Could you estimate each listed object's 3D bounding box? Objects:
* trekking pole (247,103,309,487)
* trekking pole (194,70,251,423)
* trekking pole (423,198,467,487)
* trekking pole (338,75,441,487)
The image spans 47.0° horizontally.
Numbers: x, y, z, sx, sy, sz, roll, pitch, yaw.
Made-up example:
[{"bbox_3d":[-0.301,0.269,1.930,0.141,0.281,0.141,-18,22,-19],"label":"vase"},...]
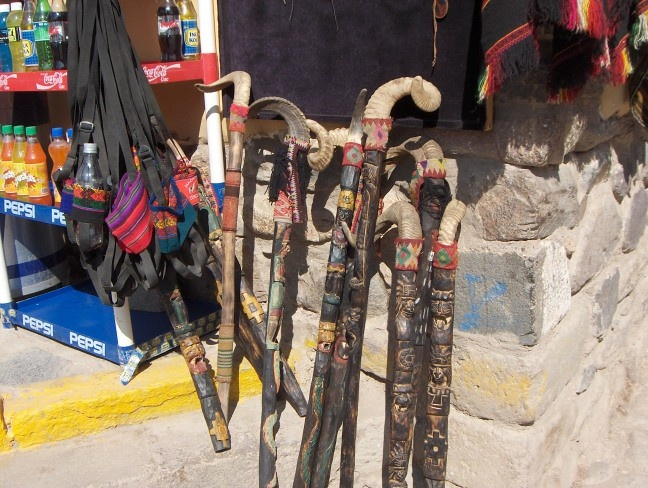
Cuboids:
[{"bbox_3d":[-0.205,0.162,3.313,0.139,1.389,0.483,4,-9,7],"label":"trekking pole"},{"bbox_3d":[-0.472,-0.026,3.462,0.091,1.411,0.259,0,1,9],"label":"trekking pole"},{"bbox_3d":[0.496,0.426,3.114,0.118,1.194,0.220,3,12,15],"label":"trekking pole"},{"bbox_3d":[0.268,0.128,3.266,0.343,1.972,0.328,3,6,1],"label":"trekking pole"}]
